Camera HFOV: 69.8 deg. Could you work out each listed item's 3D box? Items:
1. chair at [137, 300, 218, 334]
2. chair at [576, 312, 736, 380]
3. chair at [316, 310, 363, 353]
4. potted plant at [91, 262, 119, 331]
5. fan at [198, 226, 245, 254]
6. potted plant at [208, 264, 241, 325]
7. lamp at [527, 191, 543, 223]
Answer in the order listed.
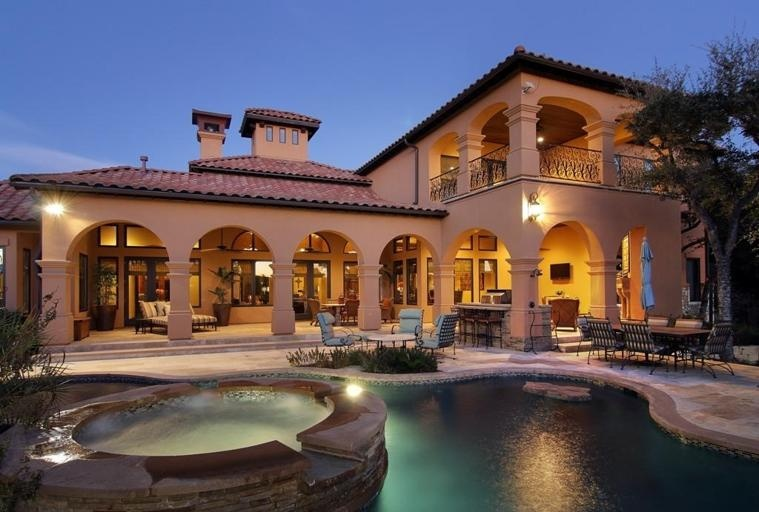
[{"bbox_3d":[-7.350,2.065,18.495,1.664,0.934,1.697,-4,-5,44],"label":"chair"},{"bbox_3d":[7.053,2.275,13.963,3.326,1.400,2.173,-2,-7,21],"label":"chair"},{"bbox_3d":[-1.217,2.070,15.635,1.017,0.817,2.280,6,-4,-2],"label":"chair"},{"bbox_3d":[-9.936,1.474,19.680,0.902,2.498,0.851,-1,-2,-25],"label":"potted plant"},{"bbox_3d":[-6.335,-0.643,21.843,1.388,0.603,1.546,-2,-1,40],"label":"fan"},{"bbox_3d":[-6.118,1.556,21.512,1.038,2.357,0.929,2,-7,-16],"label":"potted plant"},{"bbox_3d":[4.619,-1.421,16.131,0.629,0.852,0.278,5,-8,-35],"label":"lamp"}]
